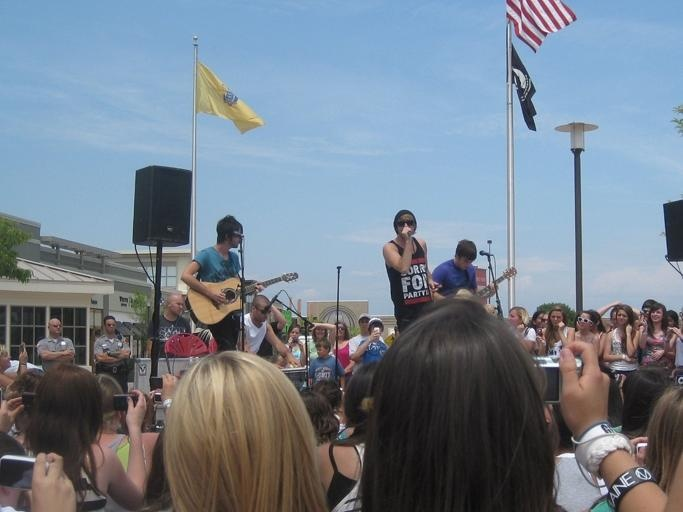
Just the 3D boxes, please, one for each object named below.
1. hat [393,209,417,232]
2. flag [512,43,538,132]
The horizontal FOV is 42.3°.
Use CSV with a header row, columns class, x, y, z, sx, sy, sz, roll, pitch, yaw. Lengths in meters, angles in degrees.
class,x,y,z,sx,sy,sz,roll,pitch,yaw
hat,0.515,-0.281,7.205,0.170,0.167,0.166,-2,-6,9
flag,2.768,-2.516,13.412,0.337,1.497,1.255,-2,-5,11
